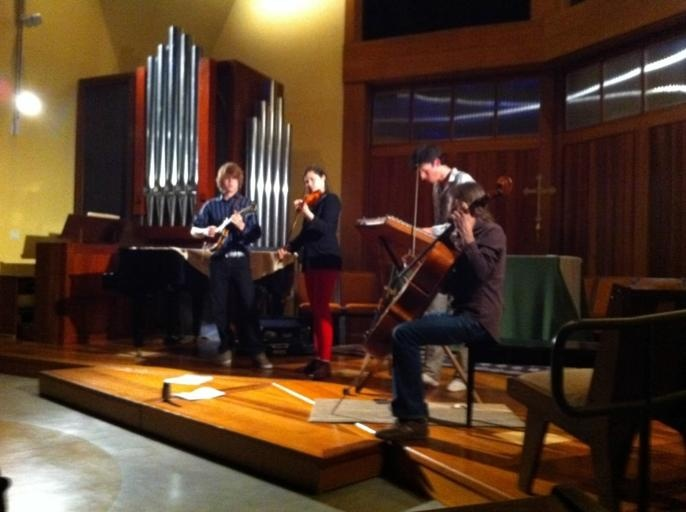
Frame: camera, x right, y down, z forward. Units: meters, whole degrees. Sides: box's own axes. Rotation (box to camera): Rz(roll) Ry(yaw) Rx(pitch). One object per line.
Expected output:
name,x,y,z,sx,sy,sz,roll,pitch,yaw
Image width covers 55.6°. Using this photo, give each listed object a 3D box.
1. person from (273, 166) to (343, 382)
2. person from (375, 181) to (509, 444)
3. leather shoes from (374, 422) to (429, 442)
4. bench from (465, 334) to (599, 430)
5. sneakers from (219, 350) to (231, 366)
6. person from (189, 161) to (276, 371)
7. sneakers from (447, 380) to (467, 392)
person,-0.267,0.140,5.482,0.460,1.724,0.982,-1,-1,-7
person,0.585,0.309,3.903,0.776,1.530,0.391,-1,-1,-3
leather shoes,0.342,1.028,3.827,0.305,0.154,0.114,1,-7,2
bench,1.097,0.582,3.912,0.901,0.663,0.525,0,-5,11
sneakers,-1.074,0.939,5.942,0.132,0.139,0.099,0,-3,16
person,-1.037,0.082,5.920,0.651,1.846,1.002,-1,-1,-19
sneakers,0.866,0.996,4.982,0.123,0.053,0.074,3,3,-40
